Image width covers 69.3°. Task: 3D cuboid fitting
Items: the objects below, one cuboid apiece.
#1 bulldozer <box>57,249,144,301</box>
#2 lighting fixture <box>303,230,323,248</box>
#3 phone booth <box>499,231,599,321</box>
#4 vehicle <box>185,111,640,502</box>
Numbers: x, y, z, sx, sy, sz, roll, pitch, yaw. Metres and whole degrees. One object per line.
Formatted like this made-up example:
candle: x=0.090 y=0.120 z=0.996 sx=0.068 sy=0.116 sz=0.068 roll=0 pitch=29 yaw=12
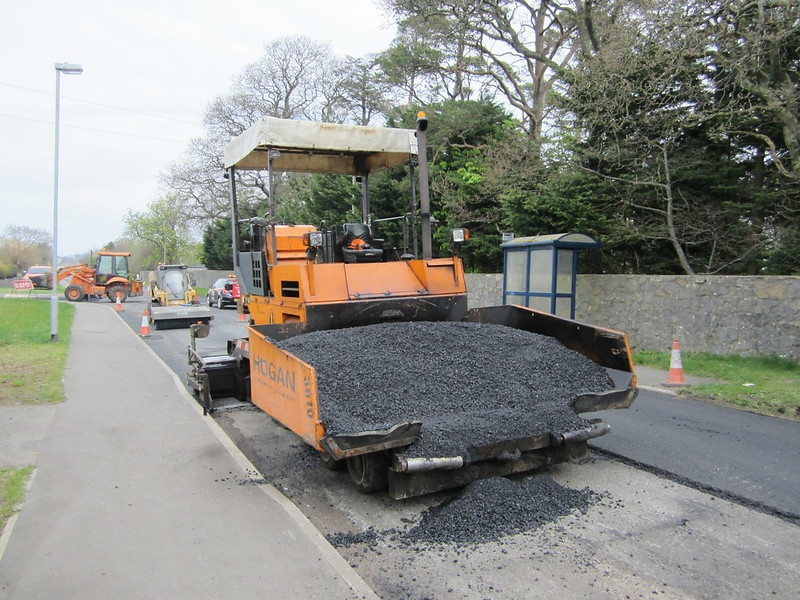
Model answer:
bulldozer: x=-18.349 y=-1.308 z=35.180 sx=3.540 sy=3.103 sz=1.750 roll=-3 pitch=11 yaw=-15
lighting fixture: x=-1.161 y=-0.830 z=7.908 sx=0.222 sy=0.186 sz=0.234 roll=-1 pitch=1 yaw=-21
phone booth: x=3.625 y=-0.560 z=13.844 sx=1.184 sy=2.120 sz=2.147 roll=-3 pitch=6 yaw=-28
vehicle: x=-0.320 y=-0.237 z=9.328 sx=3.826 sy=4.837 sz=7.468 roll=-3 pitch=4 yaw=-26
